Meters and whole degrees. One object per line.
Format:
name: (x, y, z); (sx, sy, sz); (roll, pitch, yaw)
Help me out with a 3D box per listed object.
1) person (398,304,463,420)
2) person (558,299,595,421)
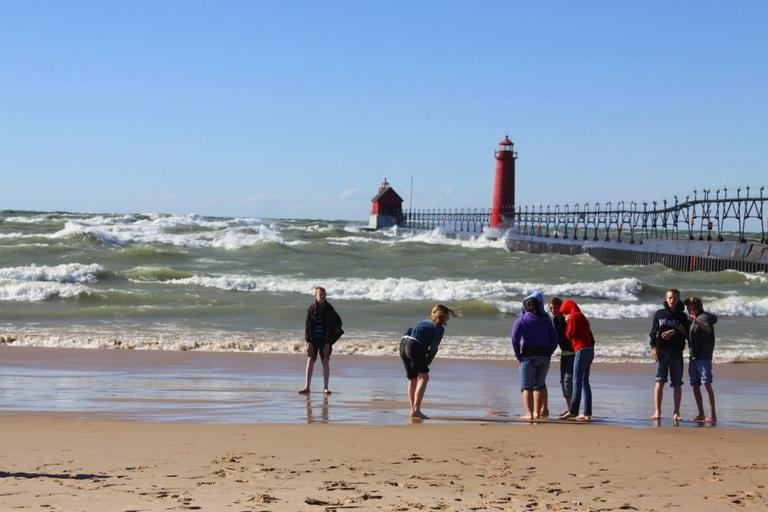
person: (0.646, 1.663, 18.365); (0.750, 1.855, 0.847); (2, 8, 1)
person: (3.155, 1.677, 18.322); (0.507, 1.910, 0.448); (3, 8, 5)
